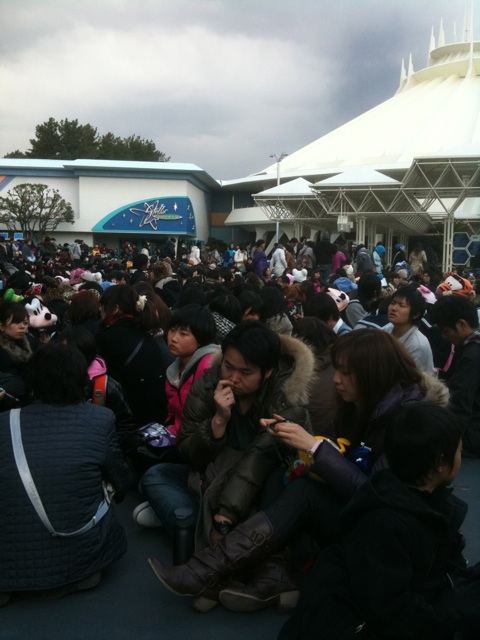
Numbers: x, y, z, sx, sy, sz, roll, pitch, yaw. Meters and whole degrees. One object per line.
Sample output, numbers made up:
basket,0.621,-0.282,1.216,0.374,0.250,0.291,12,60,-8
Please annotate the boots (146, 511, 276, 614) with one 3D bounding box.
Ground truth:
boots,-0.087,0.935,2.072,0.513,0.343,0.176,12,5,-9

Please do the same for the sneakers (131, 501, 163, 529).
sneakers,-0.502,1.064,2.809,0.100,0.086,0.247,-20,-36,21

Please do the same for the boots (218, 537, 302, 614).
boots,0.004,1.126,2.253,0.442,0.295,0.156,9,-15,-27
